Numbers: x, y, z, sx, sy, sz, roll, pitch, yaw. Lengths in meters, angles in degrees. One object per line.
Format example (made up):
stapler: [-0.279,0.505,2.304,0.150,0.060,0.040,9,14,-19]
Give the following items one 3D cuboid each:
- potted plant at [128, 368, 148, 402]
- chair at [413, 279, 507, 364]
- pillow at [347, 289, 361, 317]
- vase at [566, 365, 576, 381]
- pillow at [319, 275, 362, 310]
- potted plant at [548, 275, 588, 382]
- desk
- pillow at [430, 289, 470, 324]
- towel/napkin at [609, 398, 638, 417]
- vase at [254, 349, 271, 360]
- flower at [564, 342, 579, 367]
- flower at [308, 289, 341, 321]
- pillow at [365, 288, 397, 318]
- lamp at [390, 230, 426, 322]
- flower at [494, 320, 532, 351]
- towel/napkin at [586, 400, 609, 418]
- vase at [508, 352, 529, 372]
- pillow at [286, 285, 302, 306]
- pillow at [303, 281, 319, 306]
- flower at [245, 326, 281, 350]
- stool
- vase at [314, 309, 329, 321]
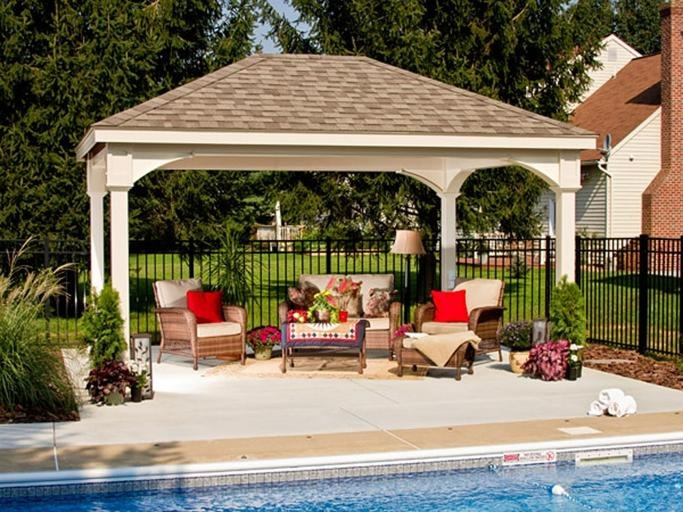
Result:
potted plant: [-2.997,1.898,13.642,0.327,0.533,0.328,3,-2,-6]
chair: [2.218,1.092,16.673,1.595,1.775,1.486,6,-8,-38]
pillow: [0.227,0.840,17.121,0.219,0.507,0.169,5,-2,-27]
vase: [3.719,1.883,14.937,0.155,0.295,0.185,0,-1,-3]
pillow: [-0.026,0.823,17.070,0.790,0.446,1.031,18,5,4]
potted plant: [3.742,1.156,15.267,0.579,1.678,0.674,-1,-1,15]
desk: [-0.315,1.606,16.337,1.590,1.036,1.817,0,1,-12]
pillow: [1.965,0.928,16.789,0.481,0.621,0.179,-2,-22,6]
towel/napkin: [3.892,2.064,12.784,0.277,0.145,0.240,-6,11,-30]
vase: [-1.432,1.779,16.914,0.291,0.214,0.258,-1,-2,-11]
flower: [3.760,1.591,14.971,0.169,0.361,0.146,-2,-2,39]
flower: [-0.287,0.863,16.068,0.434,0.598,0.472,0,1,-36]
pillow: [0.696,0.840,17.012,0.564,0.536,0.549,-1,-2,1]
lamp: [1.342,0.301,18.482,0.473,2.161,0.681,3,3,-11]
flower: [2.961,1.338,15.644,0.541,0.498,0.374,-1,-1,11]
towel/napkin: [3.574,2.111,12.895,0.271,0.203,0.269,-1,-2,17]
vase: [3.009,1.762,15.677,0.265,0.384,0.306,1,-2,-2]
pillow: [-0.857,0.724,16.973,0.216,0.369,0.148,-11,-3,-12]
pillow: [-0.587,0.666,17.153,0.240,0.429,0.140,5,-15,-16]
flower: [-1.437,1.480,16.895,0.419,0.429,0.520,0,2,-4]
stool: [1.593,1.629,15.367,1.375,0.776,0.924,-1,-2,10]
vase: [-0.316,1.016,15.901,0.164,0.165,0.185,5,-5,-20]
